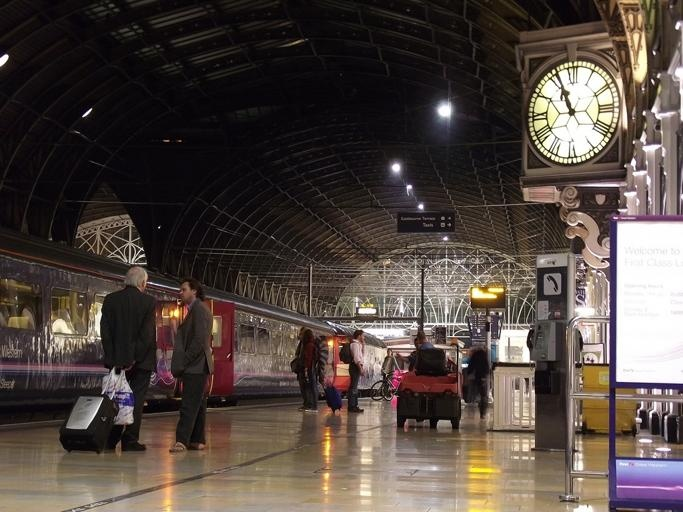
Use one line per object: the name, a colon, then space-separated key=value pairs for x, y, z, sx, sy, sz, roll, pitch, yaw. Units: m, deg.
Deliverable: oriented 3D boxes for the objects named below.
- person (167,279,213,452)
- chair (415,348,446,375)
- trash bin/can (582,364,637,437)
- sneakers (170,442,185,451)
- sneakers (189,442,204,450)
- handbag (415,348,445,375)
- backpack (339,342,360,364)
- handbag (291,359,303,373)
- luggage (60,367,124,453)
person: x=-1.963 y=1.412 z=7.872 sx=0.510 sy=2.210 sz=0.518 roll=3 pitch=-9 yaw=-15
chair: x=1.970 y=2.330 z=13.238 sx=0.543 sy=0.550 sz=0.569 roll=1 pitch=-19 yaw=2
trash bin/can: x=5.404 y=2.947 z=12.307 sx=0.966 sy=1.417 sz=1.456 roll=-7 pitch=-12 yaw=43
sneakers: x=-2.041 y=2.388 z=7.505 sx=0.216 sy=0.114 sz=0.148 roll=5 pitch=-10 yaw=-21
sneakers: x=-1.904 y=2.507 z=7.899 sx=0.106 sy=0.038 sz=0.112 roll=-1 pitch=-5 yaw=26
handbag: x=1.973 y=2.413 z=13.392 sx=0.659 sy=0.630 sz=0.512 roll=1 pitch=-19 yaw=3
backpack: x=0.174 y=2.992 z=18.237 sx=0.654 sy=0.773 sz=0.494 roll=0 pitch=-5 yaw=11
handbag: x=-1.298 y=3.180 z=17.353 sx=0.278 sy=0.267 sz=0.569 roll=-1 pitch=0 yaw=6
luggage: x=-3.067 y=2.034 z=7.290 sx=0.644 sy=0.704 sz=0.385 roll=3 pitch=-9 yaw=-16
